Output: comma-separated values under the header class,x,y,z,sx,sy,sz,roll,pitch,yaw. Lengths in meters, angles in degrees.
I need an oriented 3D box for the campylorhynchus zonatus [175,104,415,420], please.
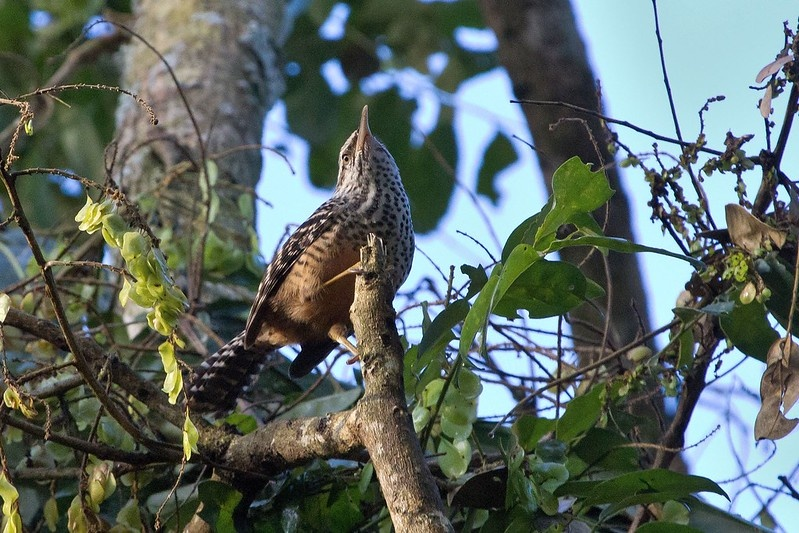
class,x,y,z,sx,sy,sz,roll,pitch,yaw
campylorhynchus zonatus,-0.667,0.059,7.802,0.595,1.110,1.702,29,-65,-35
